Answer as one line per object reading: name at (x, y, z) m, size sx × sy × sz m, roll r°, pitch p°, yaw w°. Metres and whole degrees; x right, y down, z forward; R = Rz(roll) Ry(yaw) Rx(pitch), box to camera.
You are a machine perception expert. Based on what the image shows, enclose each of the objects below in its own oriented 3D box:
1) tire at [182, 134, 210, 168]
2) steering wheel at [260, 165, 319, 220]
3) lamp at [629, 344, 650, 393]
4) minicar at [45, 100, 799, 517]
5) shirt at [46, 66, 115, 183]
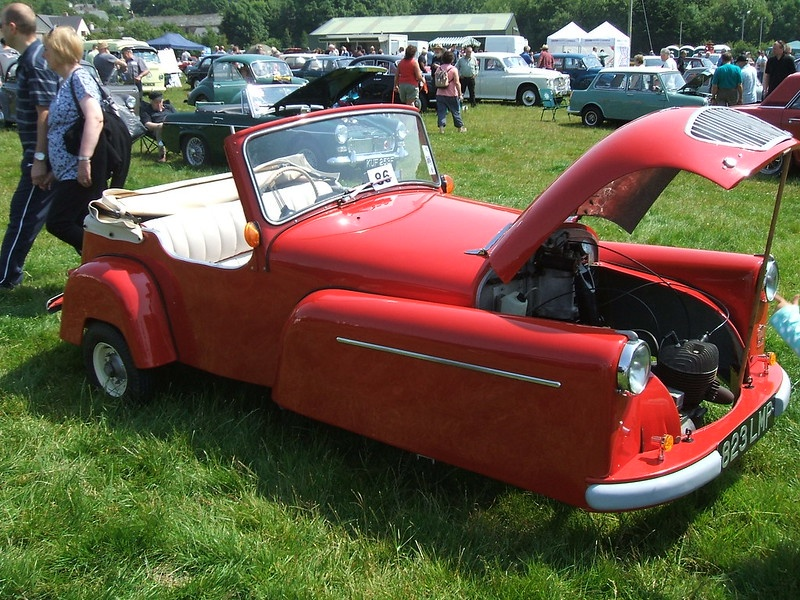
tire at (-3.483, -2.571, 12.106) m, size 0.425 × 0.500 × 0.156 m, roll 13°, pitch 18°, yaw 41°
steering wheel at (-0.706, -0.651, 4.473) m, size 0.343 × 0.341 × 0.084 m, roll -27°, pitch 15°, yaw -23°
lamp at (1.114, 0.317, 3.320) m, size 0.069 × 0.209 × 0.163 m, roll 11°, pitch 20°, yaw 37°
minicar at (-0.098, 0.134, 4.619) m, size 4.265 × 2.148 × 2.348 m, roll 16°, pitch 27°, yaw 34°
shirt at (-2.704, -1.463, 5.958) m, size 0.465 × 1.027 × 0.636 m, roll 5°, pitch 20°, yaw -11°
